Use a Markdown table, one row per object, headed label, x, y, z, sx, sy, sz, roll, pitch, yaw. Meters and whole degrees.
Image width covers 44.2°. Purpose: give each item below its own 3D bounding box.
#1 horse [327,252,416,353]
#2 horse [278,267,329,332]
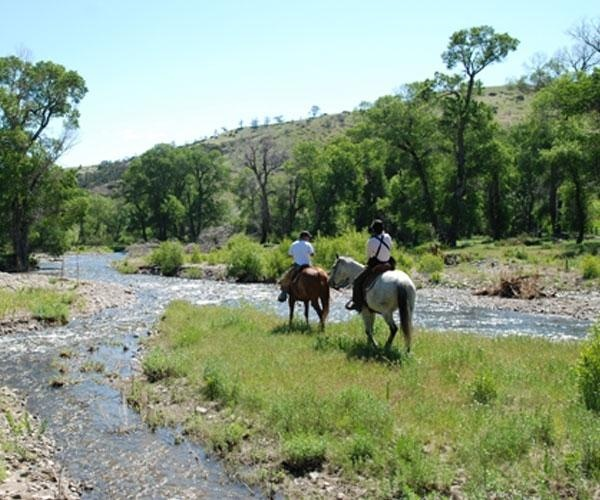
| label | x | y | z | sx | sy | sz | roll | pitch | yaw |
| --- | --- | --- | --- | --- | --- | --- | --- | --- | --- |
| horse | 2.935 | 2.402 | 31.270 | 0.891 | 3.273 | 3.153 | -1 | 1 | -27 |
| horse | 0.124 | 2.101 | 33.999 | 0.897 | 3.235 | 3.767 | -4 | 1 | -32 |
